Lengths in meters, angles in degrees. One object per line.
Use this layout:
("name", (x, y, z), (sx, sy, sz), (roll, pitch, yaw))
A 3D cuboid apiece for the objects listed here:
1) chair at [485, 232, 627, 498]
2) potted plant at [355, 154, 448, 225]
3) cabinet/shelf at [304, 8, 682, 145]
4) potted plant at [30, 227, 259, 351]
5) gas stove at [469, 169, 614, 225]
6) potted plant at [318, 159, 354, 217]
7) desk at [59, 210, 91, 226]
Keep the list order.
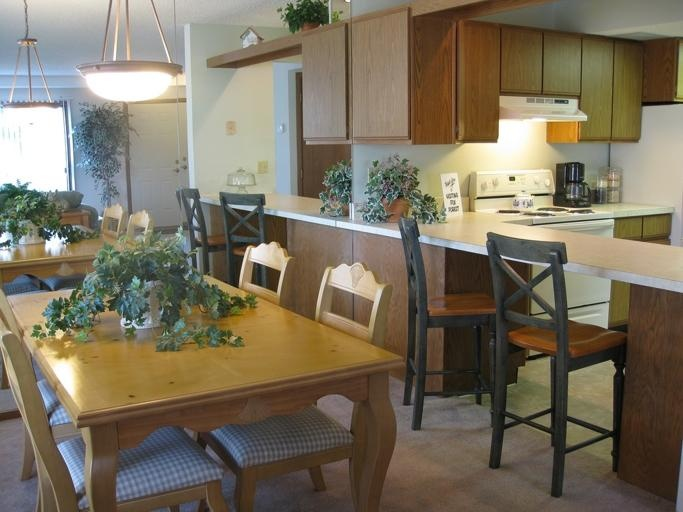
("chair", (1.079, 0.442, 2.811), (0.659, 1.173, 0.939), (5, 13, 23))
("potted plant", (0.442, -0.469, 3.904), (0.648, 0.523, 0.478), (10, 20, 36))
("cabinet/shelf", (1.270, -1.389, 4.574), (3.036, 0.890, 1.133), (-4, 13, -19))
("potted plant", (-0.788, 0.153, 2.205), (0.525, 0.325, 0.640), (10, 16, 36))
("gas stove", (1.606, -0.488, 4.473), (1.043, 0.379, 0.741), (-6, 13, -26))
("potted plant", (-0.046, -0.530, 4.338), (0.240, 0.406, 0.358), (0, 12, -1))
("desk", (-3.275, -0.463, 6.788), (0.406, 0.259, 0.411), (-1, 6, -22))
